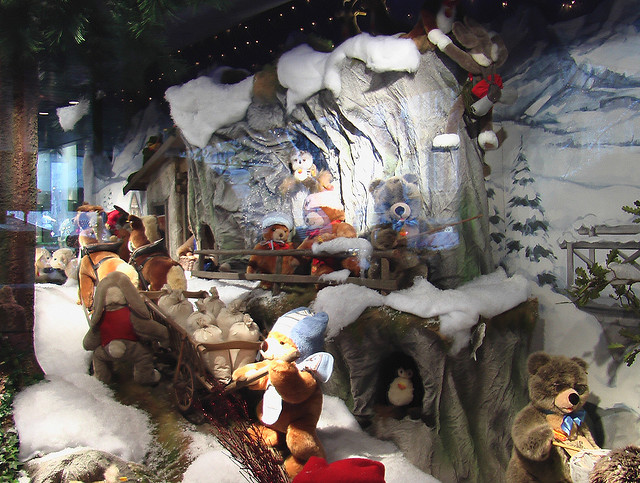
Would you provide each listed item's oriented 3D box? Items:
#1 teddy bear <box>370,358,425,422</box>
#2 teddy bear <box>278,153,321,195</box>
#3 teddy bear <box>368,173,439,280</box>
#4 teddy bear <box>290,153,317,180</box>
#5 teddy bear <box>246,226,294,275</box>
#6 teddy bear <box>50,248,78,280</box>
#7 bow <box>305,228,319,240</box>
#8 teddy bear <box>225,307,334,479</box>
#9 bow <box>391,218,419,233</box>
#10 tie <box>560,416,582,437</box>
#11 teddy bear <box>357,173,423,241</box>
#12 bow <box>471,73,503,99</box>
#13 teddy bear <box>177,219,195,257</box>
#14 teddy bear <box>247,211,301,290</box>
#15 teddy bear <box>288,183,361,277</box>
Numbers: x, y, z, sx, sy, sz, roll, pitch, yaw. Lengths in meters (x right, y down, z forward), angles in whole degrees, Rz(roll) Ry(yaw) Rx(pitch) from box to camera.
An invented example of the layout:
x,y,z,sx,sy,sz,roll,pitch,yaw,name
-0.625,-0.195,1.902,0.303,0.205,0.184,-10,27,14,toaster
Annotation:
x,y,z,sx,sy,sz,roll,pitch,yaw,name
0.602,1.171,3.884,0.384,0.448,0.254,8,-31,17,teddy bear
-0.161,-0.610,4.432,0.402,0.386,0.192,-1,1,14,teddy bear
0.636,-0.217,3.855,0.512,0.568,0.329,0,1,4,teddy bear
-0.144,-0.662,4.361,0.226,0.239,0.078,0,1,-1,teddy bear
-0.390,0.079,4.019,0.367,0.395,0.231,4,-11,-12,teddy bear
-1.498,0.129,2.929,0.039,0.184,0.141,1,1,34,teddy bear
-0.063,-0.065,4.038,0.033,0.070,0.088,14,-34,-20,bow
-0.231,0.892,2.988,0.581,0.962,0.287,0,1,-10,teddy bear
0.639,-0.115,3.802,0.116,0.072,0.124,1,-6,-27,bow
1.794,1.311,3.579,0.151,0.130,0.038,0,1,-14,tie
0.632,-0.257,3.963,0.483,0.538,0.359,-6,18,13,teddy bear
1.311,-1.232,3.958,0.079,0.165,0.217,29,-55,-27,bow
-0.994,-0.003,3.716,0.076,0.206,0.156,9,-11,-36,teddy bear
-0.374,0.062,4.039,0.428,0.623,0.355,0,1,-7,teddy bear
0.029,-0.096,4.118,0.595,0.765,0.354,-4,4,38,teddy bear
